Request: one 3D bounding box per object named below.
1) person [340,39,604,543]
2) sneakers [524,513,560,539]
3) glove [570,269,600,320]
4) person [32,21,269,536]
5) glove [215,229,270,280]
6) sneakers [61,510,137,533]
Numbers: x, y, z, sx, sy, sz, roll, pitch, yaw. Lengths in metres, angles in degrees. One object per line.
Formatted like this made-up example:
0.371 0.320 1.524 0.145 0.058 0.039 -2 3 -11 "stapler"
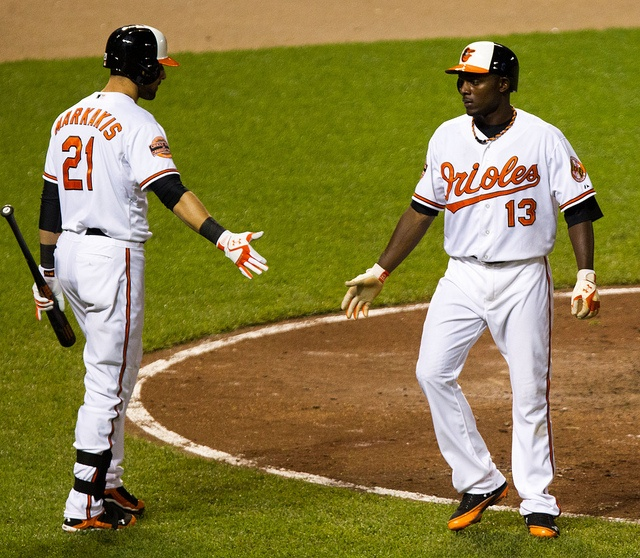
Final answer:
1.055 0.039 7.910 1.416 3.036 0.890 6 15 18 "person"
1.384 1.534 7.756 0.219 0.125 0.109 3 14 9 "sneakers"
1.662 0.103 7.766 0.158 0.331 0.242 4 14 11 "glove"
-1.184 -0.032 8.012 1.141 3.147 1.030 -3 15 -16 "person"
-0.501 -0.139 7.688 0.305 0.307 0.089 -47 -1 -27 "glove"
-1.412 1.521 7.954 0.442 0.166 0.157 -5 10 -17 "sneakers"
